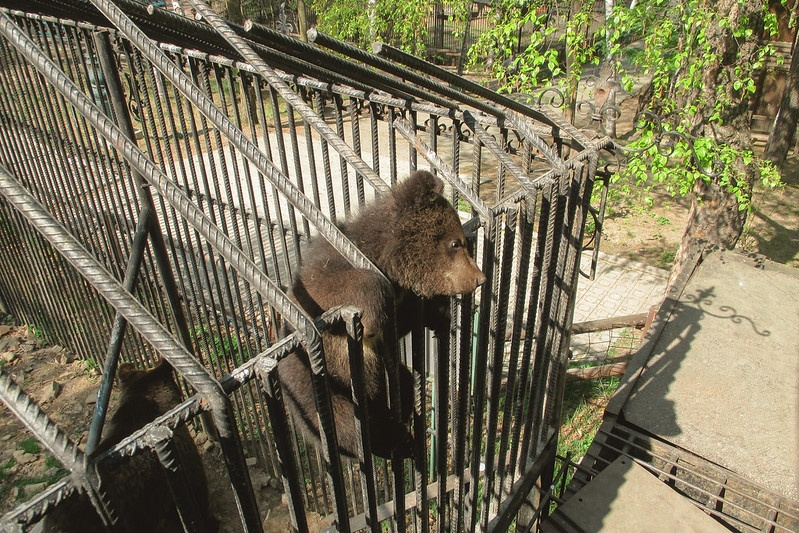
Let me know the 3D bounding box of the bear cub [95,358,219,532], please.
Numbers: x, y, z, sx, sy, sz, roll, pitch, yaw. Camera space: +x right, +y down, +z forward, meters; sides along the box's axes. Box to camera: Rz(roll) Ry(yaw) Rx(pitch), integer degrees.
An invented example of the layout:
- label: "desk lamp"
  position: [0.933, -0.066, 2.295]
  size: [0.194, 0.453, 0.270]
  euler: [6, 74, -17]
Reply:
- label: "bear cub"
  position: [-1.934, 1.445, 4.871]
  size: [0.930, 0.581, 1.763]
  euler: [25, 41, -41]

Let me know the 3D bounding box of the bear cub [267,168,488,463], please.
- label: "bear cub"
  position: [-0.199, 0.552, 4.835]
  size: [1.449, 2.400, 1.690]
  euler: [2, 29, -11]
